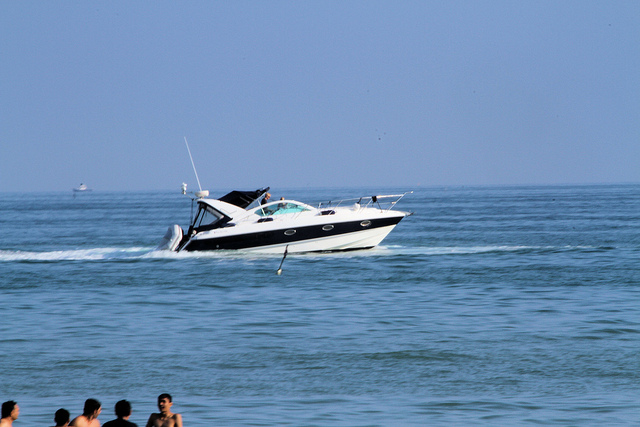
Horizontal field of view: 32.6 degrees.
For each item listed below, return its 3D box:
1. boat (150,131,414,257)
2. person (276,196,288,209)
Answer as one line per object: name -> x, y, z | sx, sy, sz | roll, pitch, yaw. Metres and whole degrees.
boat -> -2.315, -0.381, 53.881 | 14.417, 4.819, 2.854 | -2, 3, -21
person -> -1.855, -0.495, 52.775 | 0.512, 0.586, 0.915 | -7, 14, -20
